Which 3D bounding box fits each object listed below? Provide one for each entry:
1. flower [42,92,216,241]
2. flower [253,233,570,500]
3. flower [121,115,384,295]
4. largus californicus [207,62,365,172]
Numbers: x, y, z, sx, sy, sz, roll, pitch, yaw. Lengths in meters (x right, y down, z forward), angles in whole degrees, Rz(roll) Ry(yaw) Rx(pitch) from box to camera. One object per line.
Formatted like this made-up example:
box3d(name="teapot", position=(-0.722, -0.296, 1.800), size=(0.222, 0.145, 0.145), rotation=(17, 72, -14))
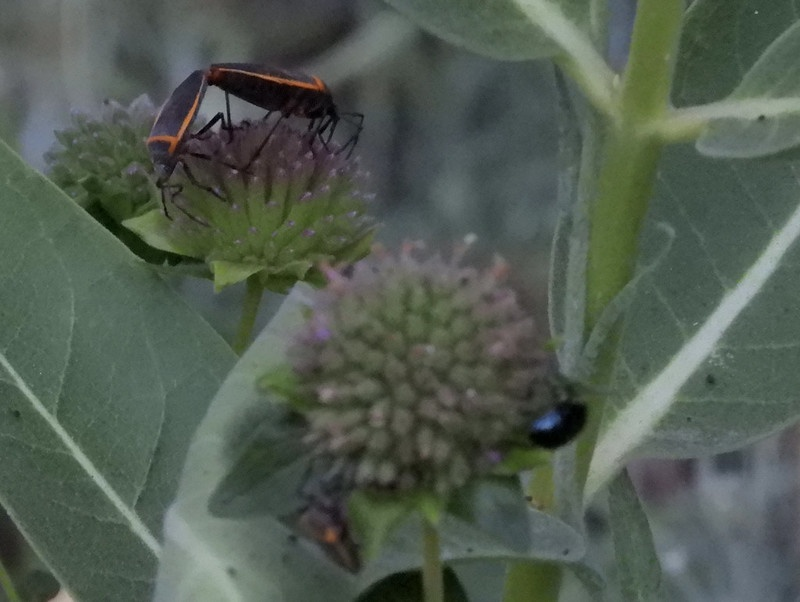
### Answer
box3d(name="flower", position=(-0.254, -0.127, 1.185), size=(0.163, 0.175, 0.097), rotation=(17, 69, -8))
box3d(name="flower", position=(0.008, 0.046, 0.755), size=(0.167, 0.042, 0.151), rotation=(-30, 70, -12))
box3d(name="flower", position=(-0.091, -0.072, 0.989), size=(0.201, 0.216, 0.123), rotation=(25, 108, 35))
box3d(name="largus californicus", position=(-0.106, -0.174, 1.024), size=(0.126, 0.041, 0.094), rotation=(19, 23, -4))
